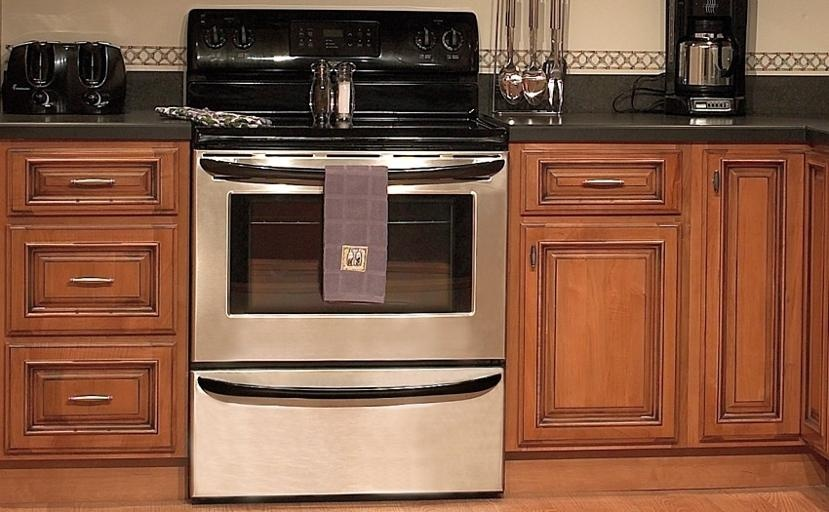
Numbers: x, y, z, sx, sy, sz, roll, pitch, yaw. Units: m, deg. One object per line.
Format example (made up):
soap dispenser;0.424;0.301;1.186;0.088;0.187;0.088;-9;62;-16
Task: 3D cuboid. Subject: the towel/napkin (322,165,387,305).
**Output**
towel/napkin;-0.204;-0.066;3.048;0.300;0.463;0.048;2;-2;-45

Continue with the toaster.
toaster;-1.275;-0.641;3.315;0.595;0.296;0.285;0;0;-8

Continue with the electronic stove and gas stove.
electronic stove and gas stove;-0.228;-0.474;3.267;1.055;0.087;0.522;-2;10;-6
